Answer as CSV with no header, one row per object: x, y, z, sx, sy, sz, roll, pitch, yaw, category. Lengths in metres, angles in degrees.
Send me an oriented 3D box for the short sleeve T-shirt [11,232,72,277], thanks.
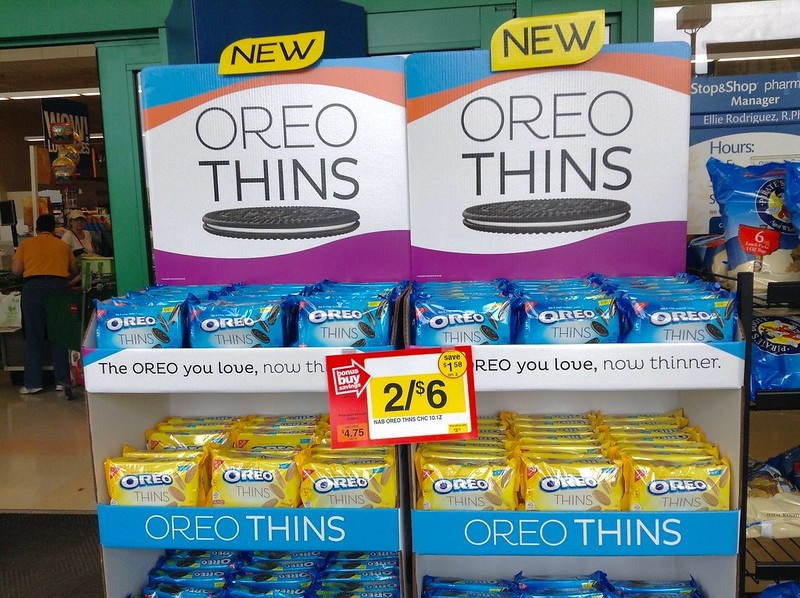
-2.969,-0.317,6.939,0.500,0.465,0.283,3,-26,-21,short sleeve T-shirt

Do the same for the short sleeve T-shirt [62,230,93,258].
-3.318,-0.561,8.446,0.160,0.304,0.309,-4,8,23,short sleeve T-shirt

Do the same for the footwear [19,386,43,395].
-3.151,0.797,7.028,0.161,0.071,0.075,7,53,-9,footwear
